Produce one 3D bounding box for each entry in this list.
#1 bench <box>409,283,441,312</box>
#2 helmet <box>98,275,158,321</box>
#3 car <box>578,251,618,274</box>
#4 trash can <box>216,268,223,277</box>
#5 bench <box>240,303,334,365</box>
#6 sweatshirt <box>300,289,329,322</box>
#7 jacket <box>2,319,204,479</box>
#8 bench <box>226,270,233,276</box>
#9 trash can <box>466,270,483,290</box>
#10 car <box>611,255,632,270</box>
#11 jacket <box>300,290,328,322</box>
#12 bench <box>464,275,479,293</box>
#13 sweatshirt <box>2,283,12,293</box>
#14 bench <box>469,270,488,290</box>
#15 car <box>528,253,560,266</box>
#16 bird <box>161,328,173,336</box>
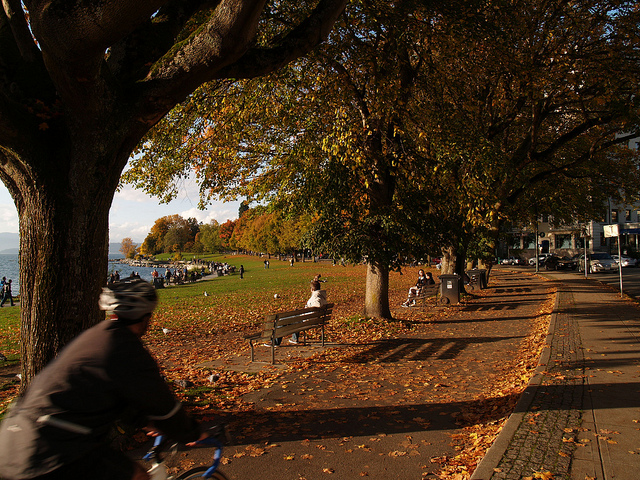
[{"bbox_3d":[4.803,2.548,22.183,1.292,1.002,3.510,-4,-4,18],"label":"bench"},{"bbox_3d":[-1.529,0.479,3.972,0.431,0.326,0.245,-1,-4,-20],"label":"helmet"},{"bbox_3d":[25.263,2.088,44.439,2.863,1.862,5.776,-4,-5,28],"label":"car"},{"bbox_3d":[-12.486,4.189,62.003,0.795,0.901,0.790,1,-3,-11],"label":"trash can"},{"bbox_3d":[-0.661,2.271,11.946,0.789,1.148,2.843,-4,-4,26],"label":"bench"},{"bbox_3d":[-0.061,1.671,13.691,0.438,0.737,0.737,2,5,19],"label":"sweatshirt"},{"bbox_3d":[-1.650,1.159,3.682,1.310,1.082,0.269,-1,-3,-19],"label":"jacket"},{"bbox_3d":[-11.698,4.252,64.935,0.512,0.514,1.940,-2,-4,-5],"label":"bench"},{"bbox_3d":[9.519,2.404,29.708,1.258,1.408,1.030,-1,-12,5],"label":"trash can"},{"bbox_3d":[25.171,1.897,40.858,1.164,0.901,2.670,-1,7,14],"label":"car"},{"bbox_3d":[0.026,1.666,13.461,0.449,0.825,0.548,-1,4,-38],"label":"jacket"},{"bbox_3d":[9.137,2.512,29.201,0.736,1.188,0.742,0,-3,5],"label":"bench"},{"bbox_3d":[-20.995,3.230,33.110,0.481,0.680,0.260,-1,3,7],"label":"sweatshirt"},{"bbox_3d":[9.759,2.467,29.899,0.668,1.128,3.297,-4,-4,27],"label":"bench"},{"bbox_3d":[27.353,2.438,59.466,2.897,1.482,1.835,3,4,26],"label":"car"},{"bbox_3d":[-5.127,3.122,16.572,0.176,0.357,0.559,-10,-17,20],"label":"bird"}]
